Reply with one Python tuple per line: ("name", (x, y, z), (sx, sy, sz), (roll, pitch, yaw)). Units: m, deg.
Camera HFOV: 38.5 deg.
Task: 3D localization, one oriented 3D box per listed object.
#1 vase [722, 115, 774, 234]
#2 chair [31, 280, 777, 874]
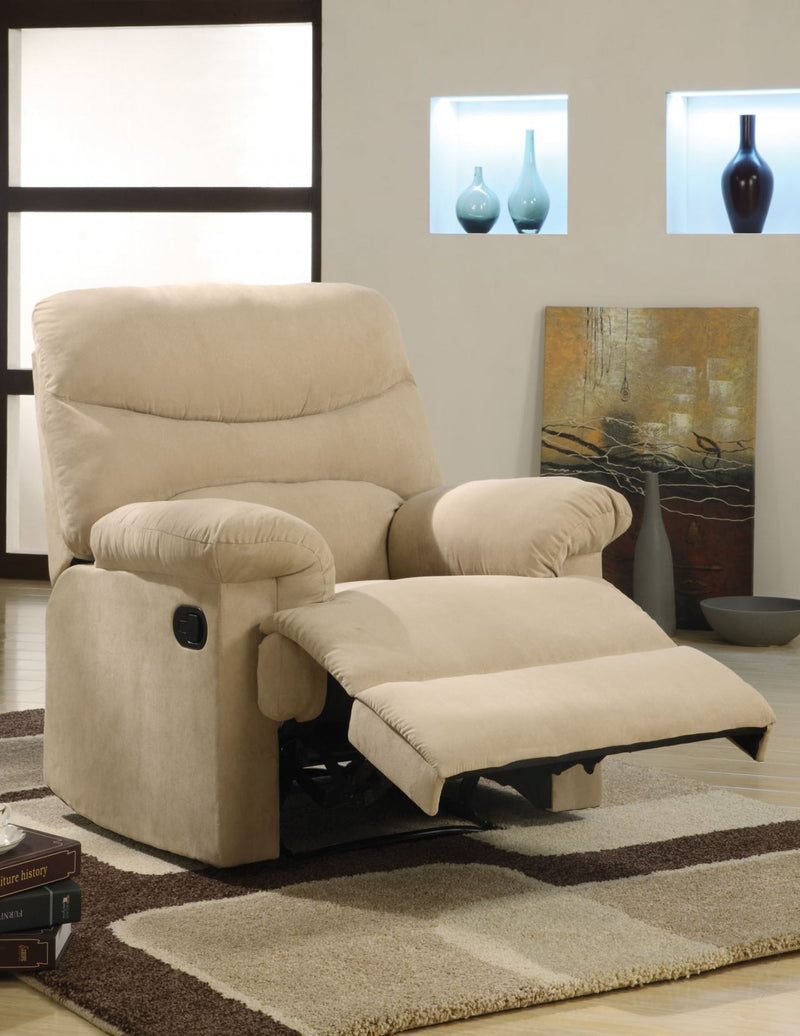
("vase", (1.189, -1.177, 3.930), (0.164, 0.443, 0.144), (-2, 4, -41))
("chair", (-0.020, 0.048, 1.797), (0.791, 0.752, 1.121), (-8, 14, -41))
